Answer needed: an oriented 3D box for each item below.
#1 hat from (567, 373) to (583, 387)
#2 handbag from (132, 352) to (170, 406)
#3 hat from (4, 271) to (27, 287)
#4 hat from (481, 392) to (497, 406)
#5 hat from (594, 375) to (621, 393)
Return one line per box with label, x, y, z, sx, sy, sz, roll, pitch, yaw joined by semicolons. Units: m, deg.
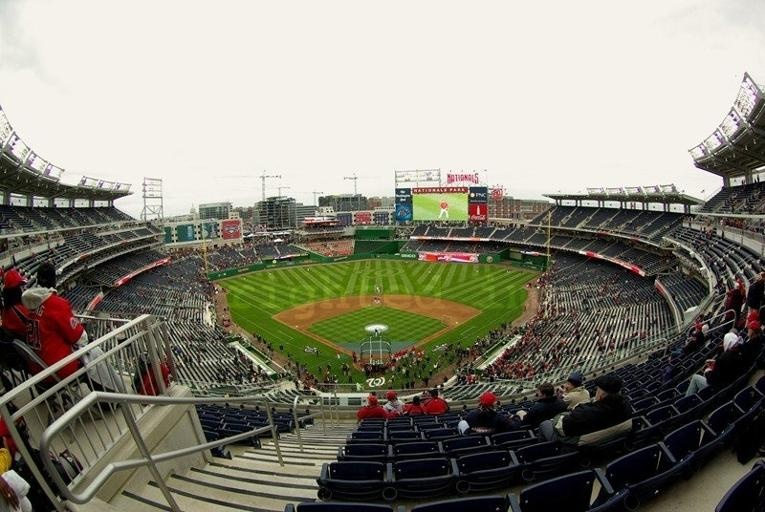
hat;4.036;2.576;9.326;0.370;0.281;0.343;12;-12;-39
handbag;-4.015;2.043;7.663;0.689;0.660;0.217;-18;10;-29
hat;-5.870;0.362;7.064;0.270;0.206;0.427;-4;-8;-45
hat;2.227;2.977;9.368;0.268;0.275;0.336;-3;18;9
hat;3.754;2.118;7.451;0.330;0.156;0.373;-14;2;-18
